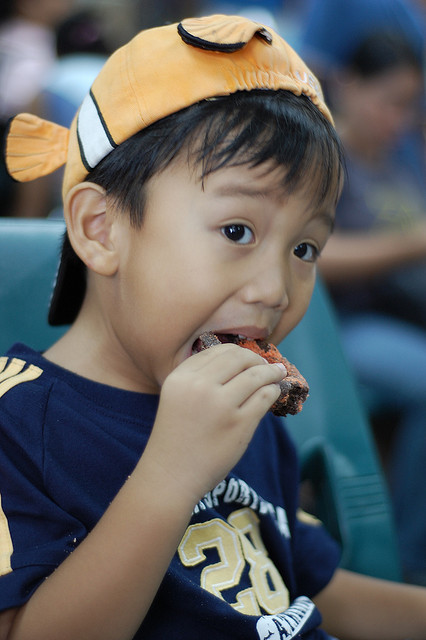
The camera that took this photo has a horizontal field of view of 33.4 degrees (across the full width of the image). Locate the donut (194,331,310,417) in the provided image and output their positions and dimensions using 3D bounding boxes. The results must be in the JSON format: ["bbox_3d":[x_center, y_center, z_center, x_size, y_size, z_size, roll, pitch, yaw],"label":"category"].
[{"bbox_3d":[0.026,0.071,1.026,0.185,0.123,0.109,-10,19,-40],"label":"donut"}]
